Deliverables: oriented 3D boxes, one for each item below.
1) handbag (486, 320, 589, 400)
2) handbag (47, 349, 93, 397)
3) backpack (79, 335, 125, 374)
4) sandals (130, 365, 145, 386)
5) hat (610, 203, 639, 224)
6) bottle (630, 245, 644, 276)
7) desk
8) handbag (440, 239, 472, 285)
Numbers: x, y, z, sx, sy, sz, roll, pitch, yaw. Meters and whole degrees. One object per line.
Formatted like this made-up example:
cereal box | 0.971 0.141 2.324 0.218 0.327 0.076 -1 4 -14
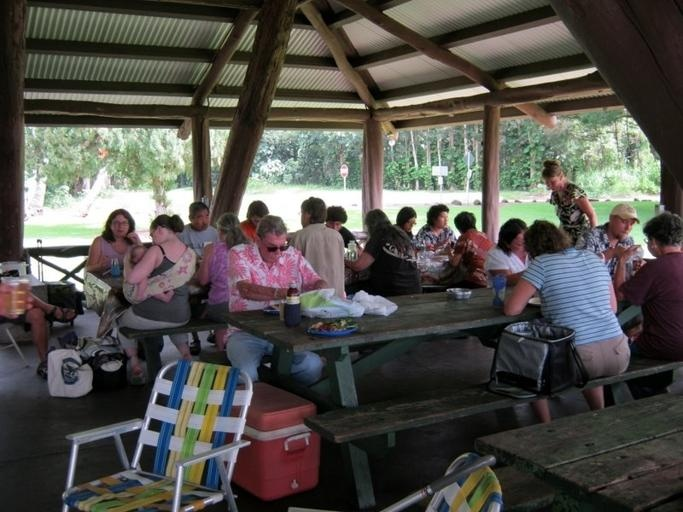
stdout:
handbag | 1.200 0.621 3.120 0.494 0.298 0.519 -9 8 -26
handbag | -2.335 1.010 4.538 0.434 0.386 0.408 0 1 -19
backpack | -2.220 0.893 4.672 0.402 0.342 0.297 0 -1 36
sandals | -1.905 1.114 4.744 0.171 0.155 0.157 1 8 -3
hat | 2.480 -0.388 4.506 0.177 0.113 0.230 1 13 -39
bottle | 2.362 0.038 4.064 0.115 0.228 0.184 8 -3 38
desk | 0.334 0.724 3.097 1.634 0.723 1.287 -9 15 -32
handbag | 1.316 0.093 5.975 0.123 0.446 0.471 9 -2 -12
